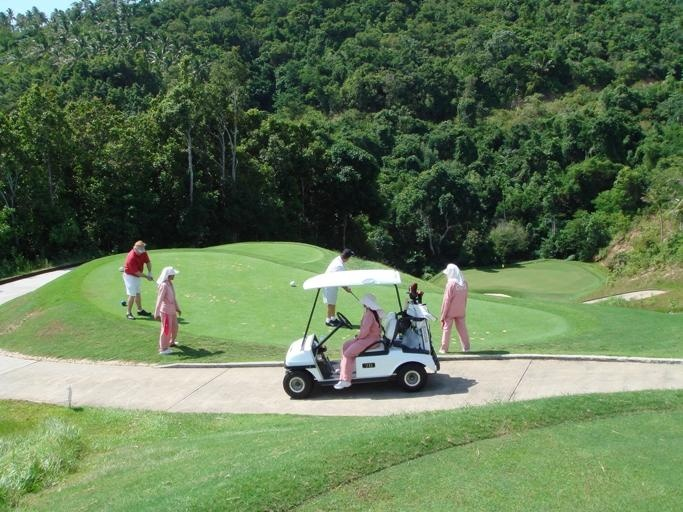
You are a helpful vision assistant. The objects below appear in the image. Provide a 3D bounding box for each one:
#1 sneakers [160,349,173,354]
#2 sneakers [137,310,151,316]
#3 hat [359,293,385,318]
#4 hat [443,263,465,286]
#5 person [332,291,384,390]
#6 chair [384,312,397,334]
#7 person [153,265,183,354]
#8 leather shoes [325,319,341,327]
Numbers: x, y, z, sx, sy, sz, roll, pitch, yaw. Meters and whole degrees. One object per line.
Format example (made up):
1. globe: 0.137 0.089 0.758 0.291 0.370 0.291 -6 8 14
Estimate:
1. sneakers: -5.154 2.813 21.405 0.140 0.104 0.228 -9 -16 38
2. sneakers: -6.415 1.885 23.654 0.478 0.245 0.183 1 13 -4
3. hat: 0.828 1.300 18.803 0.602 0.620 0.339 -1 9 2
4. hat: 3.273 0.558 20.954 0.501 0.393 0.644 -21 37 -39
5. person: 0.502 2.203 18.814 1.195 2.374 0.442 -2 9 -1
6. chair: 1.349 1.726 19.218 0.376 0.900 0.805 -2 4 5
7. person: -5.191 1.606 21.613 0.661 2.429 0.895 -4 9 -15
8. leather shoes: -0.172 1.911 20.686 0.559 0.258 0.216 2 -1 16
